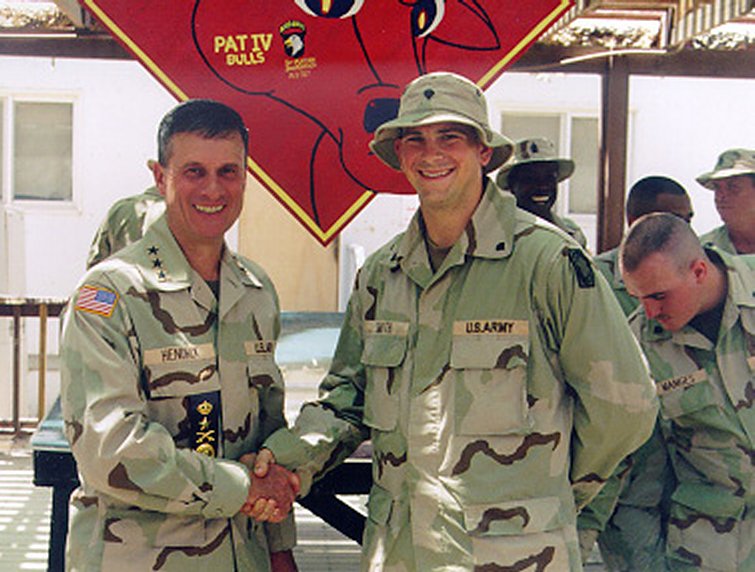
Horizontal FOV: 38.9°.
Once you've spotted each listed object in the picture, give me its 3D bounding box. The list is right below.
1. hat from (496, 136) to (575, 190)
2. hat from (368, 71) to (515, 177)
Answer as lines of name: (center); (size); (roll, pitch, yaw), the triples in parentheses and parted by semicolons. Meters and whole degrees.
hat: (1.055, -0.842, 7.438); (0.418, 0.198, 0.497); (-1, -19, 0)
hat: (0.329, -0.746, 5.372); (0.524, 0.359, 0.606); (0, 0, 18)
